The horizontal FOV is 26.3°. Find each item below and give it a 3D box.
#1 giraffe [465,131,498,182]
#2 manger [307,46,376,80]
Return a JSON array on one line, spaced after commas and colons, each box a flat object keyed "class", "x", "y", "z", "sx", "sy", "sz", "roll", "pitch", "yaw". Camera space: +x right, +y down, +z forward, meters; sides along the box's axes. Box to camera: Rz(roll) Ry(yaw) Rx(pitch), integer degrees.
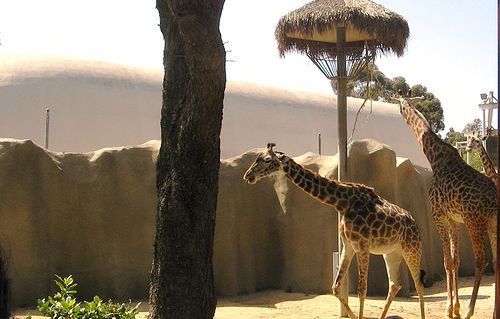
[{"class": "giraffe", "x": 7.419, "y": -0.124, "z": 34.124, "sx": 0.748, "sy": 1.850, "sz": 0.554, "roll": -11, "pitch": -43, "yaw": 9}, {"class": "manger", "x": 2.823, "y": -2.922, "z": 33.273, "sx": 2.157, "sy": 0.876, "sz": 2.129, "roll": 5, "pitch": -9, "yaw": -31}]
